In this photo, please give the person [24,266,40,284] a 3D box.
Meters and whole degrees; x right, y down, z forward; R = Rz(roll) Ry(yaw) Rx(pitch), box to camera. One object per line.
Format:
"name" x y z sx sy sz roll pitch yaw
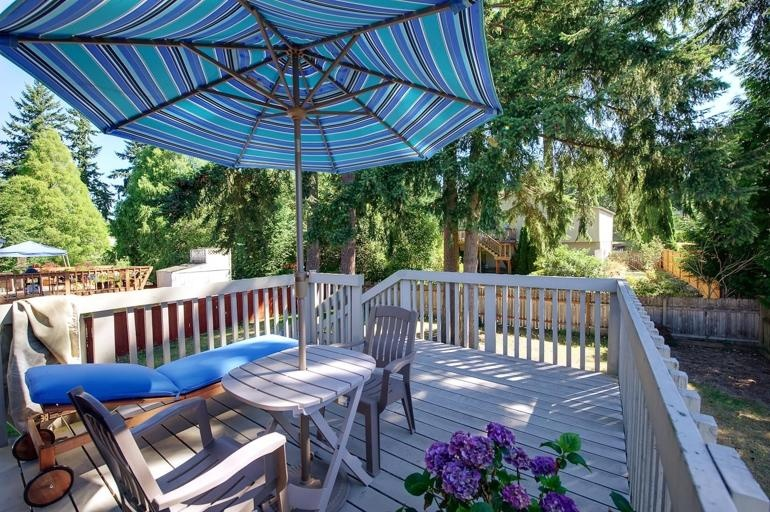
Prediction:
"person" -12.172 0.669 19.559 0.444 0.864 0.484 -1 -2 -5
